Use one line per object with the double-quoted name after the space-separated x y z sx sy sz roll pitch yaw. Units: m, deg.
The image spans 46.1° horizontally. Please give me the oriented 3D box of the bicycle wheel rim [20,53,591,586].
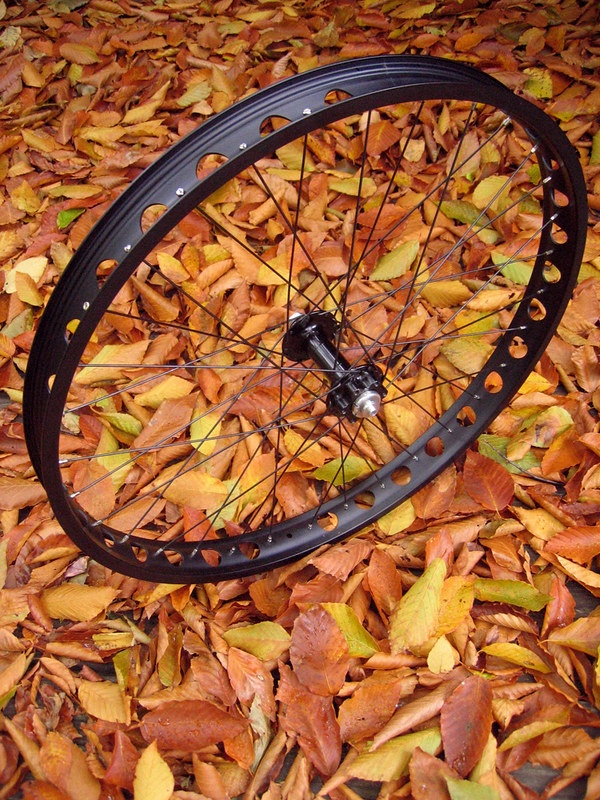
-0.103 -0.219 1.427 1.011 0.995 0.332 1 42 -45 "bicycle wheel rim"
